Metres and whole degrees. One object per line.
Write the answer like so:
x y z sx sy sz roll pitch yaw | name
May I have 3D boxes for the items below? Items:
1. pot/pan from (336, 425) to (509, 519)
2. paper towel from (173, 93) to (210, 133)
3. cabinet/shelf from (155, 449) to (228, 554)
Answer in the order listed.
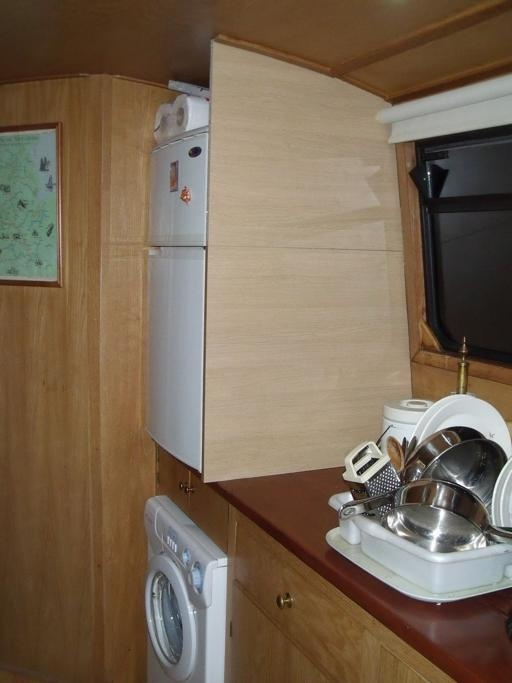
0.339 0.251 1.101 0.276 0.182 0.046 -15 29 3 | pot/pan
-0.212 -0.701 1.698 0.132 0.107 0.067 5 4 41 | paper towel
-0.207 0.517 1.772 0.166 0.223 0.435 2 15 -25 | cabinet/shelf
